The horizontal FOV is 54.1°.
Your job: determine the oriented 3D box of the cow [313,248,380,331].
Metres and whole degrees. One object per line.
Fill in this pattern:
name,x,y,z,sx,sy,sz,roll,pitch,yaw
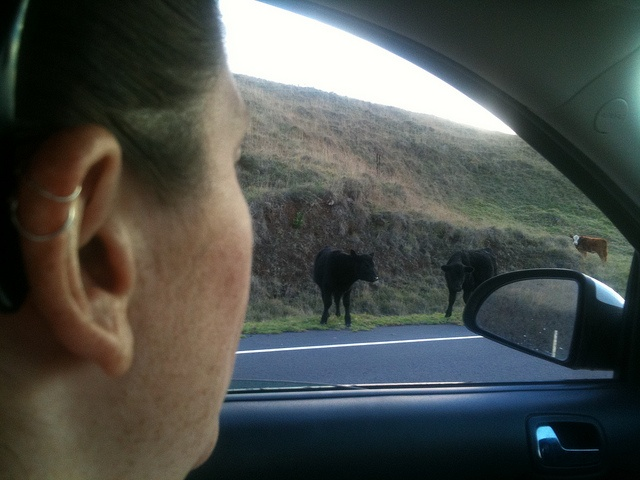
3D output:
cow,0.249,0.750,9.936,0.516,1.193,1.817,5,-4,-29

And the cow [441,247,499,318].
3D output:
cow,2.708,0.762,11.230,0.801,1.215,3.003,3,1,16
